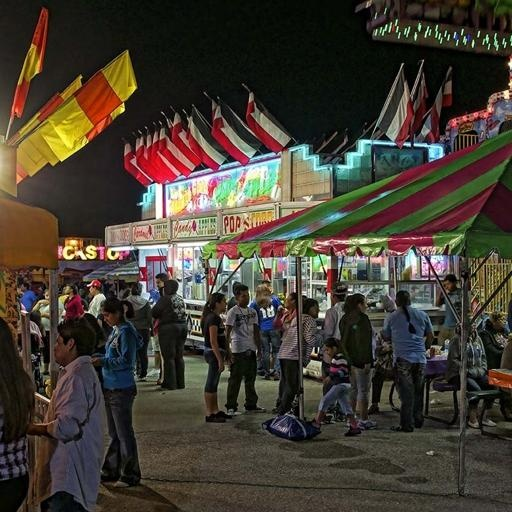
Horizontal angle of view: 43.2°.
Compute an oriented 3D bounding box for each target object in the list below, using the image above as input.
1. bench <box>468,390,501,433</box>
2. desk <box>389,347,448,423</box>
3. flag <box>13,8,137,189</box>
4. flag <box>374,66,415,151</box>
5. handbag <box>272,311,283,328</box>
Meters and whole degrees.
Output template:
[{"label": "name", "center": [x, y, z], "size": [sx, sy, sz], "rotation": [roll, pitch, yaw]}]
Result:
[{"label": "bench", "center": [3.174, 2.178, 9.041], "size": [0.552, 0.614, 0.403], "rotation": [4, -9, -39]}, {"label": "desk", "center": [2.480, 2.007, 10.090], "size": [0.723, 0.827, 1.099], "rotation": [3, -12, 11]}, {"label": "flag", "center": [-3.103, -2.789, 10.912], "size": [1.813, 2.392, 1.909], "rotation": [4, -8, -23]}, {"label": "flag", "center": [3.257, -3.581, 15.087], "size": [0.799, 2.138, 0.642], "rotation": [-1, -7, 15]}, {"label": "handbag", "center": [0.354, 1.008, 10.586], "size": [0.147, 0.274, 0.307], "rotation": [6, -10, 3]}]
